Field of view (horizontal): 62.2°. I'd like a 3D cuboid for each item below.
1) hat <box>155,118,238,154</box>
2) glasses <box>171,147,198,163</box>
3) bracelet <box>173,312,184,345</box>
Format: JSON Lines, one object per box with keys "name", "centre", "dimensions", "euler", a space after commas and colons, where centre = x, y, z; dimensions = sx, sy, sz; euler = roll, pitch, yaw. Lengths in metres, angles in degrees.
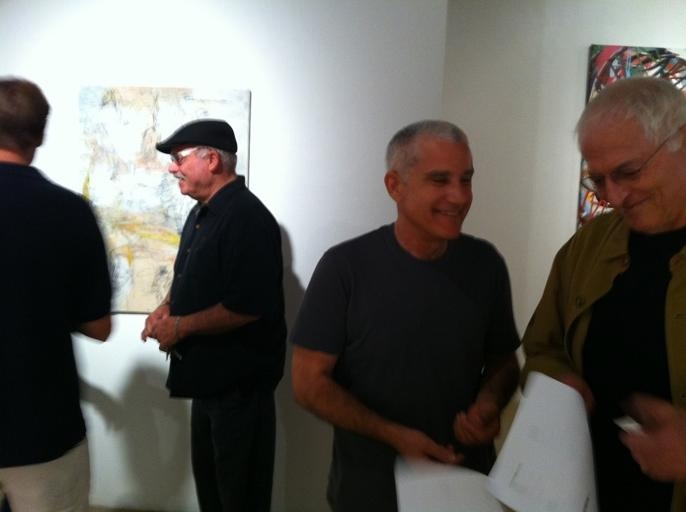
{"name": "hat", "centre": [-0.459, -0.366, 1.798], "dimensions": [0.172, 0.080, 0.126], "euler": [1, 9, -10]}
{"name": "glasses", "centre": [-0.497, -0.321, 1.791], "dimensions": [0.081, 0.050, 0.018], "euler": [3, 11, 16]}
{"name": "bracelet", "centre": [-0.535, 0.237, 1.848], "dimensions": [0.014, 0.062, 0.061], "euler": [2, 1, -5]}
